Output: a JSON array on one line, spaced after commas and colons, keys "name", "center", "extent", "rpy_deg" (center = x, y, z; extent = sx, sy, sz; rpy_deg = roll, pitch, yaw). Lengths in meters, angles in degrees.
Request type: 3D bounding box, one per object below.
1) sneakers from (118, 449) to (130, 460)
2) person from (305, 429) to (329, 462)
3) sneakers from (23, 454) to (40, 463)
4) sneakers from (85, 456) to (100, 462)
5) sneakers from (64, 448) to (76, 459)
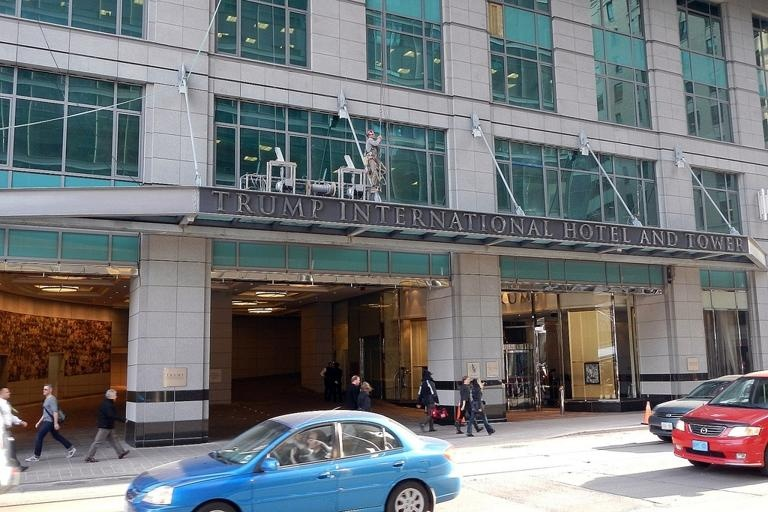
[{"name": "sneakers", "center": [-8.247, 6.319, 22.301], "extent": [0.119, 0.218, 0.331], "rpy_deg": [1, 9, 5]}, {"name": "person", "center": [-1.546, 4.336, 15.908], "extent": [0.617, 0.745, 0.410], "rpy_deg": [-4, -36, -6]}, {"name": "sneakers", "center": [-11.043, 6.352, 21.911], "extent": [0.537, 0.211, 0.194], "rpy_deg": [6, -5, -11]}, {"name": "sneakers", "center": [-9.078, 6.330, 21.782], "extent": [0.334, 0.122, 0.173], "rpy_deg": [4, -2, -10]}, {"name": "sneakers", "center": [-9.919, 6.260, 22.298], "extent": [0.205, 0.452, 0.161], "rpy_deg": [35, 20, -13]}]
